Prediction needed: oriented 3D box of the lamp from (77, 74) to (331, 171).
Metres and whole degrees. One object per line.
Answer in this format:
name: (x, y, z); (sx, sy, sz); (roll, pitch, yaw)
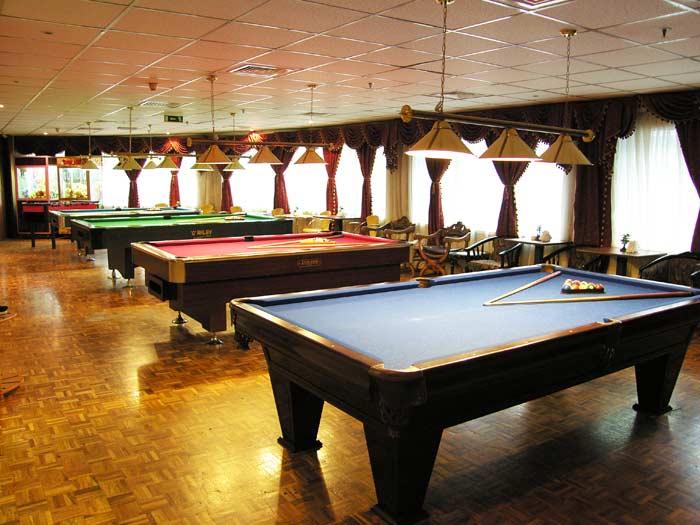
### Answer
lamp: (-2.578, -2.606, 9.833); (2.884, 0.956, 2.879); (3, 5, 43)

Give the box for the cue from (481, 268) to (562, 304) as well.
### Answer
cue: (1.303, 0.235, 3.975); (0.026, 0.022, 0.668); (41, -37, -23)

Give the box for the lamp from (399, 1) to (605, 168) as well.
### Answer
lamp: (1.727, -1.929, 5.620); (2.504, 1.197, 0.609); (2, -1, -39)
